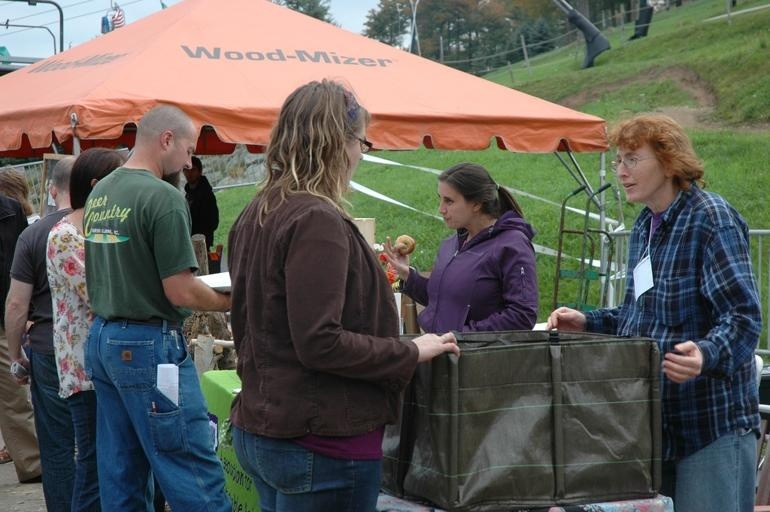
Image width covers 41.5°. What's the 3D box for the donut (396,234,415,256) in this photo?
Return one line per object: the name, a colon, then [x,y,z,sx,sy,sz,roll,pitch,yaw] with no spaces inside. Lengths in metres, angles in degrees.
donut: [0.159,-0.088,8.028,0.155,0.158,0.075,-5,-12,19]
